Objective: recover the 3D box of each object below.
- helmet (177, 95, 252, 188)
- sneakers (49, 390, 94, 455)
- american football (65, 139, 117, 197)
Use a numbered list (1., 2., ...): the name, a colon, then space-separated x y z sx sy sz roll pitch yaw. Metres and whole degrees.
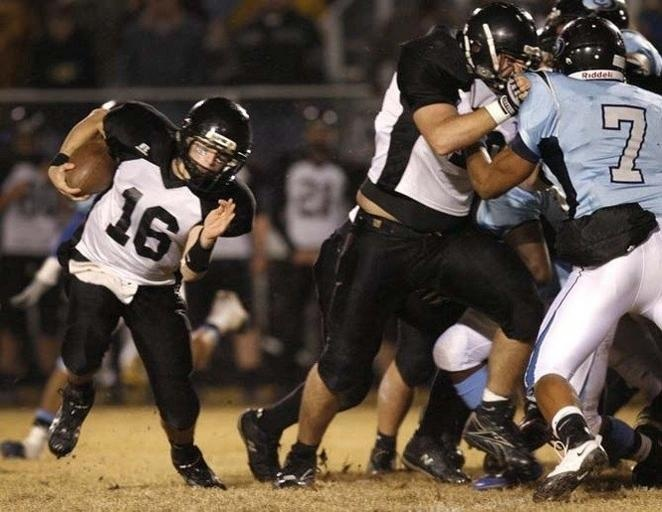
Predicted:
1. helmet: -0.628 -0.619 5.216 0.439 0.375 0.492 23 19 -16
2. sneakers: -1.396 0.891 5.234 0.225 0.350 0.149 17 4 22
3. american football: -1.294 -0.476 5.262 0.271 0.239 0.323 20 26 -1
